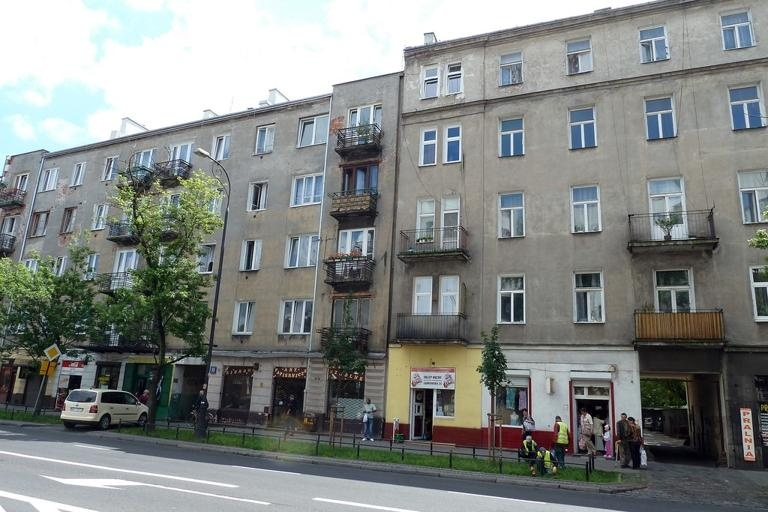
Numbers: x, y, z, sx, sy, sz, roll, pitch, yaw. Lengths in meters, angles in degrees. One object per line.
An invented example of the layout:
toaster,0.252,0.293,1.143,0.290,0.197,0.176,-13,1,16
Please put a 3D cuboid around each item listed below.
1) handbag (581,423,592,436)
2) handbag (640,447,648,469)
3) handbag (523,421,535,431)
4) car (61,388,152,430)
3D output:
handbag,10.374,8.862,30.431,0.717,0.688,0.411,4,-10,-4
handbag,12.626,9.763,28.889,0.317,0.953,1.515,-4,-16,22
handbag,6.975,8.272,28.921,0.626,0.581,0.437,6,-13,2
car,-16.574,8.962,36.258,3.047,2.082,4.991,-7,-10,26
